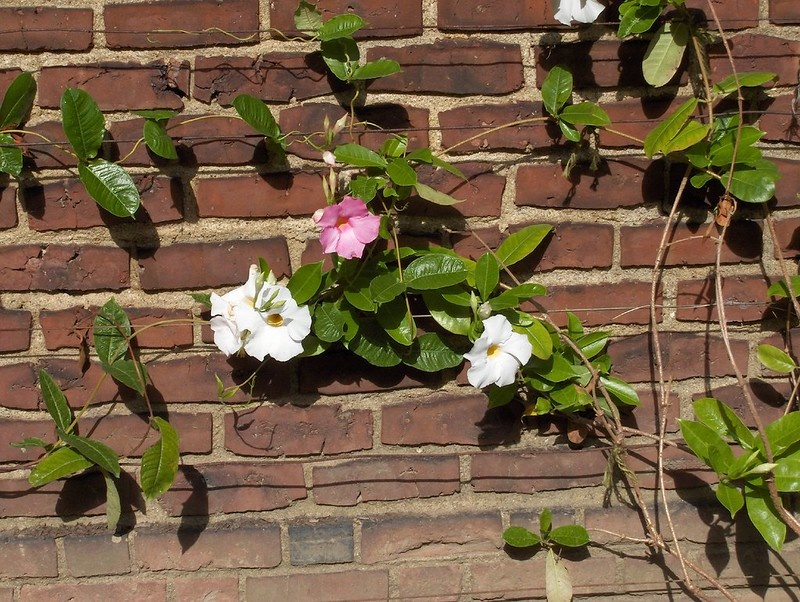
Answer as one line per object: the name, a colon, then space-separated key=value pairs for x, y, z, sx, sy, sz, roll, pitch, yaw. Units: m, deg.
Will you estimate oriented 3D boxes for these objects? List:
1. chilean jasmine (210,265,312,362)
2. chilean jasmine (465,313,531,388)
chilean jasmine: x=-0.290 y=0.034 z=2.341 sx=0.194 sy=0.207 sz=0.109 roll=-13 pitch=1 yaw=9
chilean jasmine: x=0.206 y=0.111 z=2.287 sx=0.138 sy=0.152 sz=0.048 roll=11 pitch=1 yaw=-20
